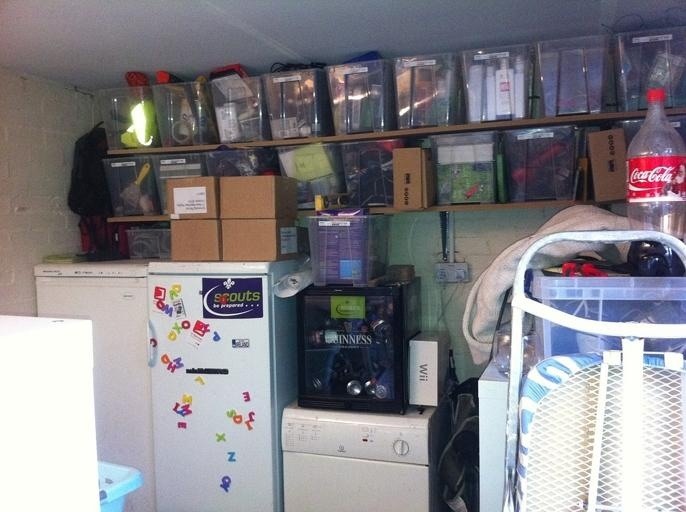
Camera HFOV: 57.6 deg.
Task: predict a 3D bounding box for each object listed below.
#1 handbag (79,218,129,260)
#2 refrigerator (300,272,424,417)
[{"bbox_3d":[-1.523,-0.110,3.966,0.310,0.319,0.238,-2,5,10],"label":"handbag"},{"bbox_3d":[0.139,0.424,3.398,0.714,0.766,0.587,-1,-2,21],"label":"refrigerator"}]
